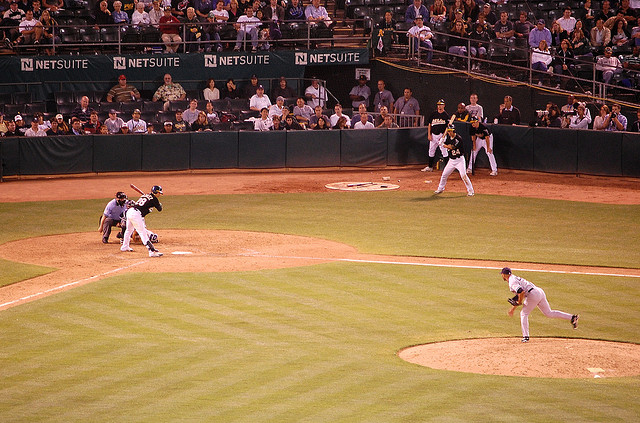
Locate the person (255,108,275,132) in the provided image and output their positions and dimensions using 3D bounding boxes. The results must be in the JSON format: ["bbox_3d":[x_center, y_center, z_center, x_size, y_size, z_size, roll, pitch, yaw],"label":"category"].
[{"bbox_3d":[-2.433,-3.981,39.255,0.810,0.896,0.708,-2,14,-6],"label":"person"}]

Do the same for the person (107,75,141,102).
[{"bbox_3d":[-8.883,-5.440,40.607,1.625,1.121,0.882,-16,38,-41],"label":"person"}]

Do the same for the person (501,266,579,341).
[{"bbox_3d":[5.233,2.227,22.270,1.598,1.765,0.418,-2,15,-8],"label":"person"}]

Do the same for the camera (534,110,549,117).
[{"bbox_3d":[9.508,-4.231,39.353,0.533,0.184,0.299,1,-1,-36],"label":"camera"}]

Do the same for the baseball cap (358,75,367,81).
[{"bbox_3d":[1.987,-6.289,42.982,0.310,0.164,0.372,1,10,10],"label":"baseball cap"}]

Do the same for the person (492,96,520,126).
[{"bbox_3d":[7.917,-4.076,39.062,1.395,1.394,0.936,-1,4,-5],"label":"person"}]

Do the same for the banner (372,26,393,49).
[{"bbox_3d":[2.833,-8.079,42.768,1.155,0.819,0.273,7,9,20],"label":"banner"}]

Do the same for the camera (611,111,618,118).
[{"bbox_3d":[11.861,-3.908,36.804,0.234,0.286,0.384,0,12,3],"label":"camera"}]

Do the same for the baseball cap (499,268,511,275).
[{"bbox_3d":[4.494,1.434,22.105,0.183,0.135,0.205,0,12,2],"label":"baseball cap"}]

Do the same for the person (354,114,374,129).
[{"bbox_3d":[1.887,-3.935,39.743,0.847,0.614,0.792,0,13,3],"label":"person"}]

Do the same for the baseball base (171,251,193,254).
[{"bbox_3d":[-4.223,1.246,27.863,0.563,0.020,0.211,1,11,6],"label":"baseball base"}]

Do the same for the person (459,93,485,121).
[{"bbox_3d":[6.412,-4.435,38.810,0.937,1.006,1.201,2,13,12],"label":"person"}]

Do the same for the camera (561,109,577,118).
[{"bbox_3d":[10.366,-4.088,38.058,0.576,0.201,0.313,-3,9,-3],"label":"camera"}]

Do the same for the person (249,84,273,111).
[{"bbox_3d":[-2.741,-5.058,40.909,0.924,1.029,0.996,-6,14,-22],"label":"person"}]

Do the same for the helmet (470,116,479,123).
[{"bbox_3d":[6.424,-3.832,38.074,0.468,0.162,0.525,-1,0,9],"label":"helmet"}]

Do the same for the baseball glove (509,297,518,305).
[{"bbox_3d":[4.671,2.137,22.090,0.177,0.185,0.257,1,13,9],"label":"baseball glove"}]
